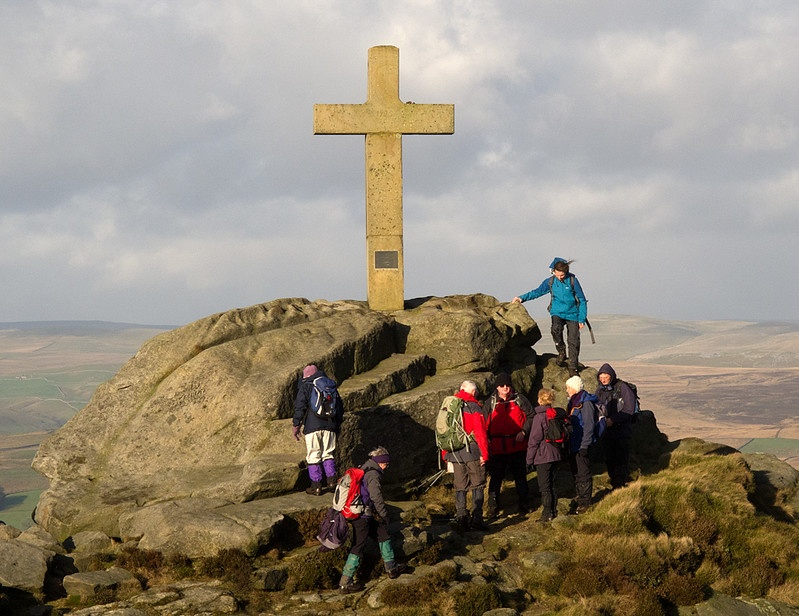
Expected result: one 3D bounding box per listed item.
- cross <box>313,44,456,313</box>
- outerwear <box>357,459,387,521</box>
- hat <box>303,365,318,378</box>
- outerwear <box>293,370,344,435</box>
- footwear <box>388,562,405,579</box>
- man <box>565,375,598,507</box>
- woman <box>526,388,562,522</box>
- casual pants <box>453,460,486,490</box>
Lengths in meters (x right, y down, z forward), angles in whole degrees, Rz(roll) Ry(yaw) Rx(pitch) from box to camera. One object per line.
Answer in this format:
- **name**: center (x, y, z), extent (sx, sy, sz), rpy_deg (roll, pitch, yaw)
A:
- **cross**: center (-0.479, -3.911, 24.168), extent (3.831, 7.959, 1.317), rpy_deg (2, 11, 1)
- **outerwear**: center (-0.440, 3.159, 13.548), extent (0.460, 1.004, 0.471), rpy_deg (1, 11, -2)
- **hat**: center (-1.882, 1.334, 16.370), extent (0.231, 0.171, 0.320), rpy_deg (-3, 6, -11)
- **outerwear**: center (-1.730, 2.018, 16.276), extent (1.395, 1.503, 0.825), rpy_deg (1, -15, -12)
- **footwear**: center (-0.069, 4.586, 13.690), extent (0.149, 0.184, 0.419), rpy_deg (9, 16, 39)
- **man**: center (3.763, 2.920, 16.174), extent (0.717, 2.936, 0.973), rpy_deg (4, 11, 13)
- **woman**: center (2.940, 3.000, 15.755), extent (0.704, 2.756, 0.506), rpy_deg (4, 11, 10)
- **casual pants**: center (1.410, 3.328, 15.589), extent (0.662, 0.830, 0.301), rpy_deg (1, -12, -6)
